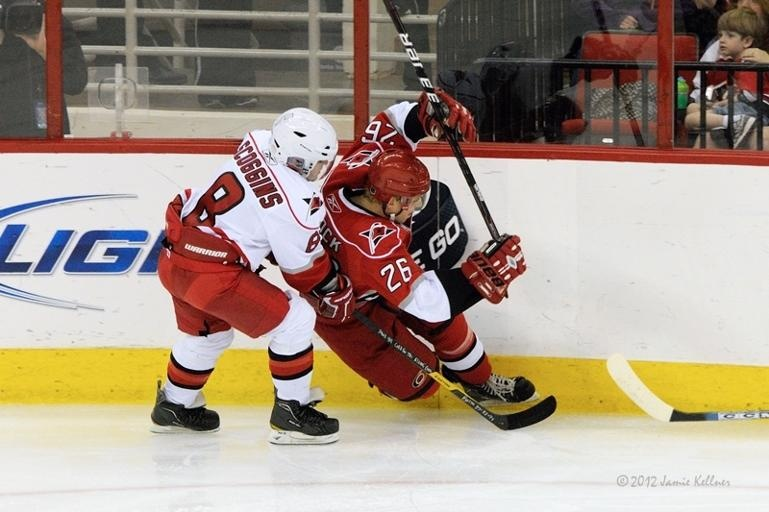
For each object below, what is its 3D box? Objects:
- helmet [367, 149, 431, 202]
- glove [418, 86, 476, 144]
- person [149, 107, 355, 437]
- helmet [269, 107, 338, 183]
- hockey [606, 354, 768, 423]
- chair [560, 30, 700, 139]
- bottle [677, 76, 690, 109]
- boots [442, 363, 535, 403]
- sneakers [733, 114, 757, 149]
[{"bbox_3d":[0.044,-0.382,5.696,0.306,0.226,0.223,2,38,-6],"label":"helmet"},{"bbox_3d":[0.300,-0.679,5.812,0.294,0.089,0.224,49,38,-3],"label":"glove"},{"bbox_3d":[-0.661,0.046,5.748,1.221,1.833,0.824,-2,37,-19],"label":"person"},{"bbox_3d":[-0.396,-0.543,5.640,0.382,0.326,0.281,14,38,-17],"label":"helmet"},{"bbox_3d":[1.523,0.695,5.941,0.798,0.342,0.272,3,11,8],"label":"hockey"},{"bbox_3d":[1.279,-0.987,6.223,0.486,0.373,0.463,18,-7,-40],"label":"chair"},{"bbox_3d":[1.552,-0.855,6.080,0.069,0.168,0.025,3,11,3],"label":"bottle"},{"bbox_3d":[0.602,0.685,6.129,0.587,0.222,0.175,1,42,11],"label":"boots"},{"bbox_3d":[1.868,-0.665,6.097,0.100,0.210,0.074,17,23,-4],"label":"sneakers"}]
